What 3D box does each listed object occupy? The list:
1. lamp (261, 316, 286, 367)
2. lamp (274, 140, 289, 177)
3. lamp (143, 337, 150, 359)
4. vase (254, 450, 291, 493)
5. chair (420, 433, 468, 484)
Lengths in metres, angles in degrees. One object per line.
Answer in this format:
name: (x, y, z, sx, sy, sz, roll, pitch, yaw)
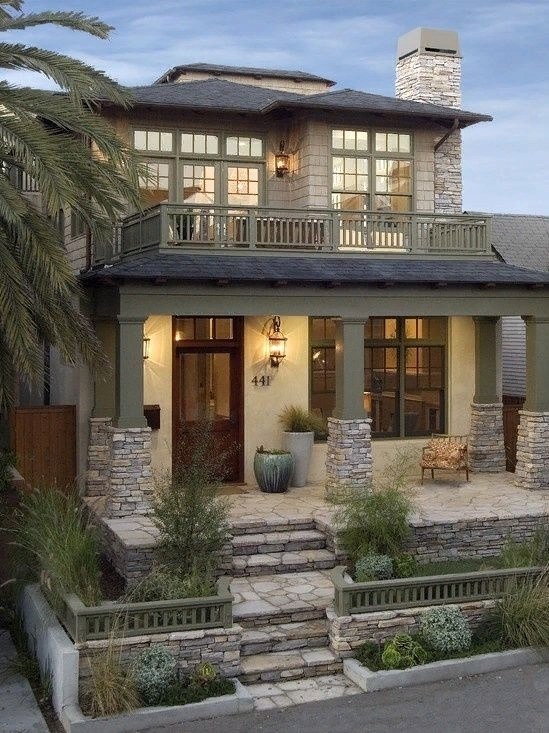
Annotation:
lamp: (0.024, -0.455, 14.996, 0.432, 0.905, 0.259, 3, 10, -8)
lamp: (0.144, -4.018, 15.855, 0.253, 0.699, 0.233, -4, 13, -38)
lamp: (-2.212, -0.327, 14.263, 0.102, 0.392, 0.109, 2, 10, -12)
vase: (-0.016, 1.790, 14.179, 0.587, 0.636, 0.695, 1, -5, -6)
chair: (3.081, 1.653, 15.068, 0.748, 0.845, 0.958, 0, -2, 22)
